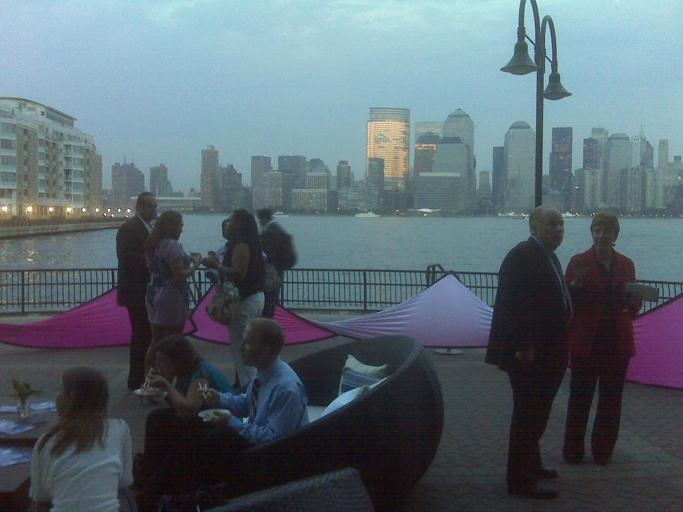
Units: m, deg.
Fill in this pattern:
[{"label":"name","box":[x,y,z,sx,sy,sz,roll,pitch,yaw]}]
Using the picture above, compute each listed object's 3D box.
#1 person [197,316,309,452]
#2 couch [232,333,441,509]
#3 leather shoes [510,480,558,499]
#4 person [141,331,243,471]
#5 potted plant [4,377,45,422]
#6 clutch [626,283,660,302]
[{"label":"person","box":[-0.672,1.085,8.999,0.931,1.393,0.968,4,-6,-17]},{"label":"couch","box":[0.021,1.451,9.220,1.633,1.390,1.810,3,2,9]},{"label":"leather shoes","box":[1.658,2.054,9.195,0.431,0.084,0.107,3,2,11]},{"label":"person","box":[-1.421,1.180,8.961,0.978,1.357,0.598,5,-15,-14]},{"label":"potted plant","box":[-2.954,1.296,9.777,0.367,0.448,0.411,2,1,39]},{"label":"clutch","box":[2.827,0.326,9.849,0.381,0.107,0.189,27,-21,-37]}]
